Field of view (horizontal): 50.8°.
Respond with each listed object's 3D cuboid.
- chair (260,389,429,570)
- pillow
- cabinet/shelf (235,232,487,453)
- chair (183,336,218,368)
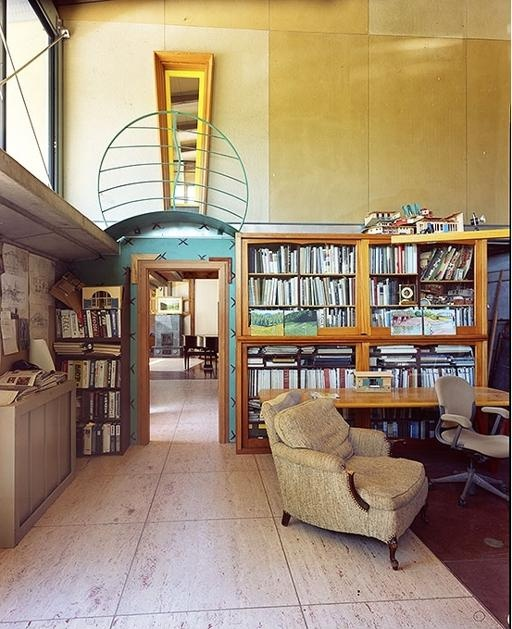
[{"bbox_3d":[0.659,1.069,3.854,1.068,0.858,0.816,3,5,42],"label":"chair"},{"bbox_3d":[0.406,0.899,3.957,0.166,0.464,0.459,-40,-22,32],"label":"pillow"},{"bbox_3d":[1.018,0.227,5.132,2.057,2.007,0.625,0,-4,0],"label":"cabinet/shelf"},{"bbox_3d":[-1.162,0.770,11.888,0.912,0.719,0.755,0,-6,5],"label":"chair"}]
